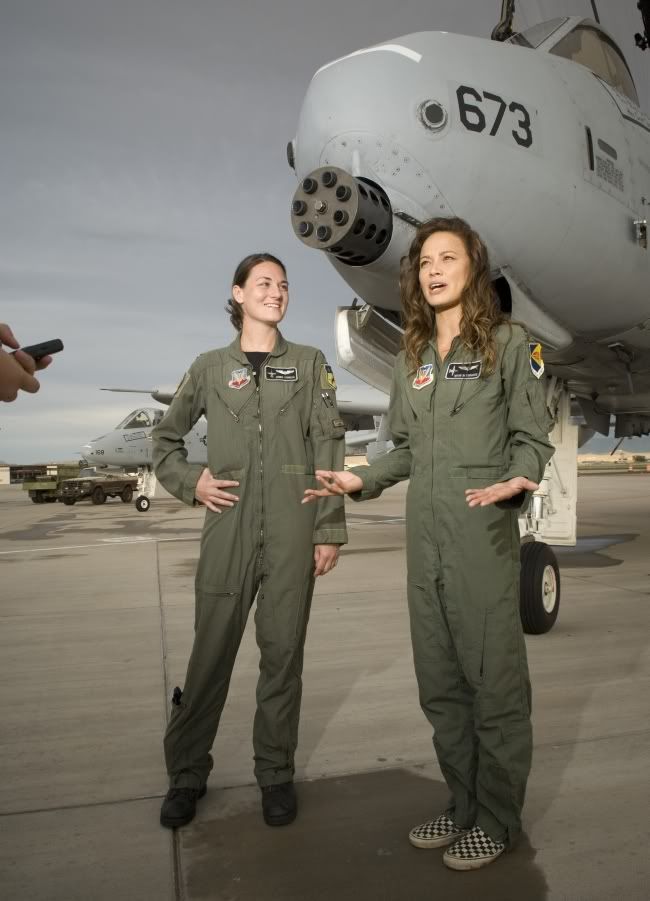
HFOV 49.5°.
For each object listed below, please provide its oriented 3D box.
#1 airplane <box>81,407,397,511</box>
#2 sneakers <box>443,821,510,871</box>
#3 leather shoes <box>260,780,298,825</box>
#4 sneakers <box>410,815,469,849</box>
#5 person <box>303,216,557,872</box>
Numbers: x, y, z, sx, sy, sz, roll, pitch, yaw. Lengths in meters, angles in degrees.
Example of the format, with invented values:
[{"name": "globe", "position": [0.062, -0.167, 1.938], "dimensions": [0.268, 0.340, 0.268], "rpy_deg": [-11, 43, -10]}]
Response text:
[{"name": "airplane", "position": [-3.950, -0.124, 20.862], "dimensions": [5.253, 2.414, 5.027], "rpy_deg": [-3, 2, -33]}, {"name": "sneakers", "position": [0.436, 1.150, 2.035], "dimensions": [0.155, 0.076, 0.174], "rpy_deg": [-2, -2, 22]}, {"name": "leather shoes", "position": [-0.146, 1.155, 2.318], "dimensions": [0.121, 0.091, 0.175], "rpy_deg": [-1, -1, -4]}, {"name": "sneakers", "position": [0.336, 1.143, 2.122], "dimensions": [0.185, 0.066, 0.067], "rpy_deg": [7, -6, -23]}, {"name": "person", "position": [0.377, 0.216, 2.145], "dimensions": [0.624, 1.957, 0.458], "rpy_deg": [-3, -2, 40]}]
